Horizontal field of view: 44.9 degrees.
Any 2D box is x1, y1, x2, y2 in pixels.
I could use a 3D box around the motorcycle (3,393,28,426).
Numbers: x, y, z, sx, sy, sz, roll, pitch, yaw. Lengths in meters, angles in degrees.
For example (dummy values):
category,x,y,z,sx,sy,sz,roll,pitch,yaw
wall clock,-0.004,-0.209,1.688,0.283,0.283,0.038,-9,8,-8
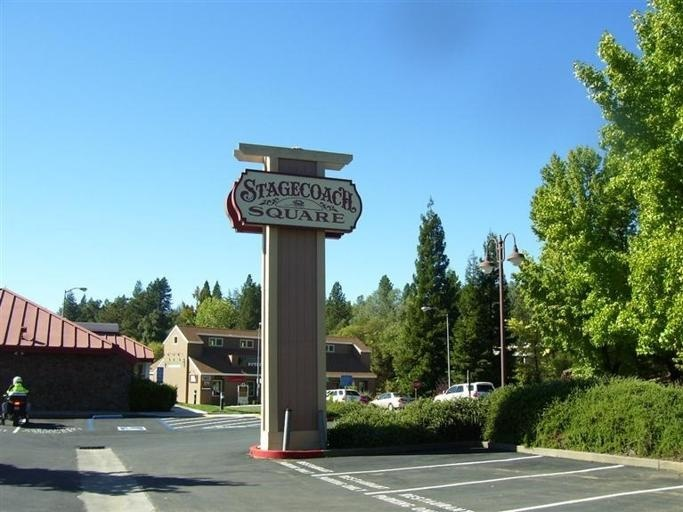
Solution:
category,x,y,z,sx,sy,sz,roll,pitch,yaw
motorcycle,-14.328,6.825,36.349,1.013,1.330,1.094,8,-15,-27
